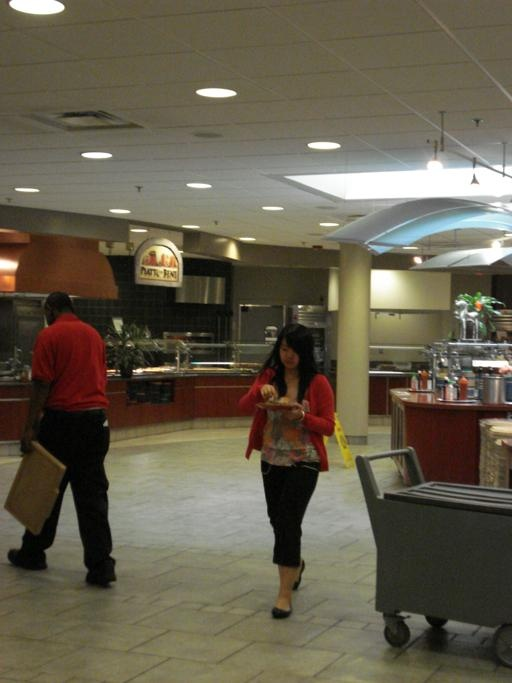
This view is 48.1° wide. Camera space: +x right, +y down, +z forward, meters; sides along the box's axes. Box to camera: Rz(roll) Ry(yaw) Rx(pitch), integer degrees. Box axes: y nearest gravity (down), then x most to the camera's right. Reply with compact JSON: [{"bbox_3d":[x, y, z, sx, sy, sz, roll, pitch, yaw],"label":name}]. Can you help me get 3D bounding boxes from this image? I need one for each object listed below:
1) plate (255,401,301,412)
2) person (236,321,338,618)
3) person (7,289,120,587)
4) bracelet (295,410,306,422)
[{"bbox_3d":[0.102,0.299,2.686,0.163,0.044,0.183,4,-8,-24],"label":"plate"},{"bbox_3d":[0.118,0.605,2.839,0.456,1.428,0.451,9,-11,-42],"label":"person"},{"bbox_3d":[-1.033,0.524,3.278,0.564,1.685,0.451,4,-9,-20],"label":"person"},{"bbox_3d":[0.208,0.344,2.694,0.051,0.048,0.046,-4,24,39],"label":"bracelet"}]
